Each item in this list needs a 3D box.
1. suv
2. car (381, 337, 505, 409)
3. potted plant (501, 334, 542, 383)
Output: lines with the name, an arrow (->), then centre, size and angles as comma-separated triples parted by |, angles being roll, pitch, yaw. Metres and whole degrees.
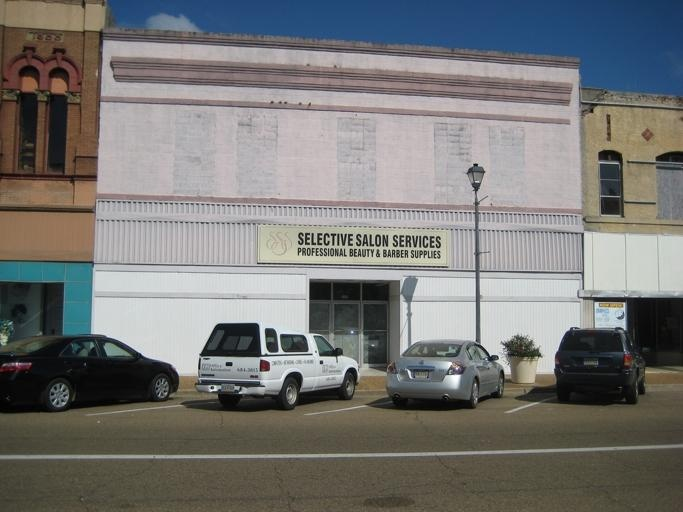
suv -> 7.489, 3.204, 32.007 | 2.309, 2.205, 0.959 | 0, -6, 7
car -> 3.185, 3.396, 31.624 | 3.431, 1.930, 1.894 | 5, -8, -40
potted plant -> 6.210, 3.533, 37.233 | 1.177, 1.503, 1.023 | 4, -5, -21
